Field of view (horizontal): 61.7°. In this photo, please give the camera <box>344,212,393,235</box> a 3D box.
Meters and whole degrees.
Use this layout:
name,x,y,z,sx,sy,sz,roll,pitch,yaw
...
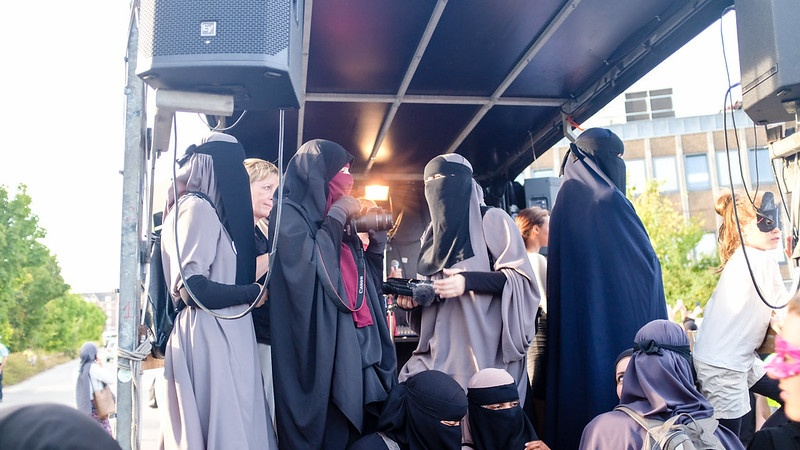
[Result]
name,x,y,z,sx,sy,sz,roll,pitch,yaw
camera,-0.287,-0.022,6.501,0.461,0.188,0.187,-7,6,2

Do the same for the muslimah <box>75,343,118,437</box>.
name,x,y,z,sx,sy,sz,roll,pitch,yaw
muslimah,-4.281,2.280,9.436,0.473,1.195,0.368,0,-7,-24

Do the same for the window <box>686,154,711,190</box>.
name,x,y,z,sx,sy,sz,roll,pitch,yaw
window,12.656,-2.252,28.607,1.101,1.968,0.155,-5,35,25

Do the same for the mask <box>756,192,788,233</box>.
name,x,y,z,sx,sy,sz,roll,pitch,yaw
mask,3.852,-0.154,7.053,0.326,0.326,0.506,8,22,38

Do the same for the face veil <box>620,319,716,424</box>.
name,x,y,z,sx,sy,sz,roll,pitch,yaw
face veil,2.444,1.352,6.234,0.751,0.923,0.922,17,-22,-36

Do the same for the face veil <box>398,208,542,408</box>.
name,x,y,z,sx,sy,sz,roll,pitch,yaw
face veil,0.768,0.880,6.846,1.167,1.797,1.528,22,-30,-25

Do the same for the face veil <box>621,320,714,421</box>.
name,x,y,z,sx,sy,sz,roll,pitch,yaw
face veil,2.465,1.353,6.199,0.770,0.917,0.934,18,-22,-40

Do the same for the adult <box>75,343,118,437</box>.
name,x,y,z,sx,sy,sz,roll,pitch,yaw
adult,-4.283,2.280,9.434,0.470,1.195,0.362,-1,-6,-18
